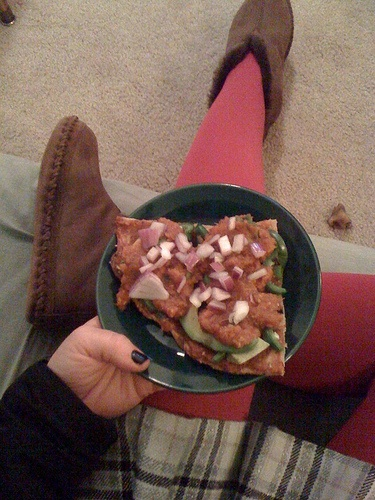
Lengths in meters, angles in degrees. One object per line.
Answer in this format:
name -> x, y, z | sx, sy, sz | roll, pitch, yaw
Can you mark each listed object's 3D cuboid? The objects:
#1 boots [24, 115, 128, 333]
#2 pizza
boots -> -0.257, -0.051, 1.133 | 0.192, 0.229, 0.582 | 2, 92, 3
pizza -> 0.019, 0.076, 0.935 | 0.370, 0.149, 0.341 | 0, 65, 13
